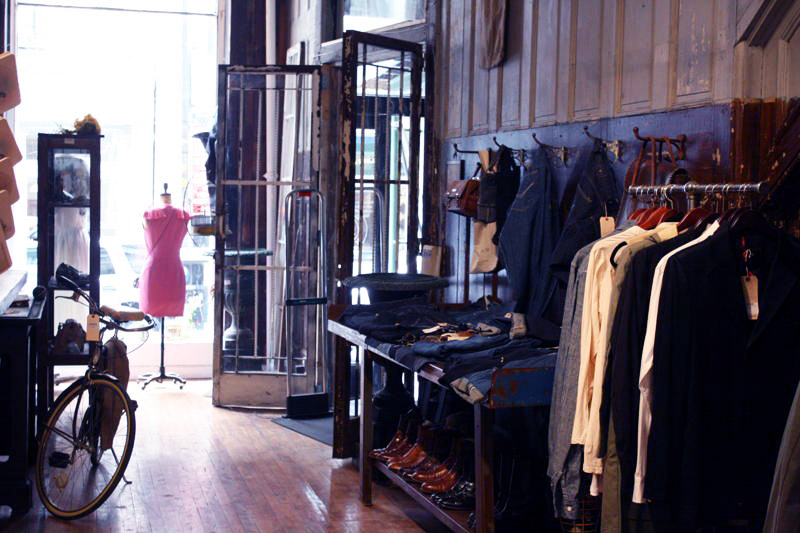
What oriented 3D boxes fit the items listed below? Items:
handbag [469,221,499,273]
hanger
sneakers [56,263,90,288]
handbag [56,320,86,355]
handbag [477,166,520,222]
[{"bbox_3d":[0.552,-0.121,5.860,0.259,0.401,0.263,0,0,-1],"label":"handbag"},{"bbox_3d":[1.496,-0.295,4.500,0.257,0.356,0.762,-7,11,-41],"label":"hanger"},{"bbox_3d":[-2.446,0.077,6.757,0.282,0.127,0.096,12,17,-42],"label":"sneakers"},{"bbox_3d":[-2.393,0.528,6.578,0.188,0.294,0.098,-3,7,-24],"label":"handbag"},{"bbox_3d":[0.639,-0.455,5.731,0.273,0.348,0.153,0,9,-4],"label":"handbag"}]
